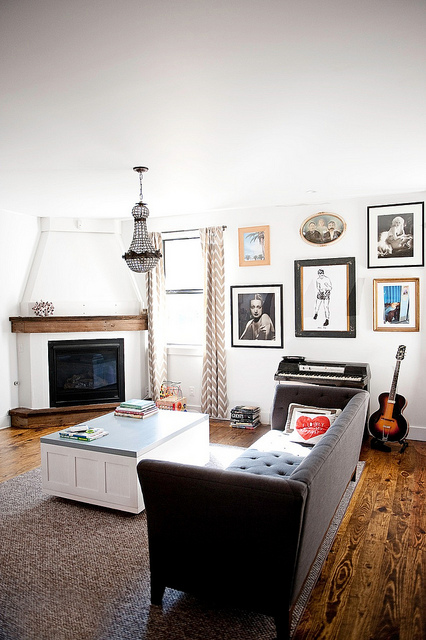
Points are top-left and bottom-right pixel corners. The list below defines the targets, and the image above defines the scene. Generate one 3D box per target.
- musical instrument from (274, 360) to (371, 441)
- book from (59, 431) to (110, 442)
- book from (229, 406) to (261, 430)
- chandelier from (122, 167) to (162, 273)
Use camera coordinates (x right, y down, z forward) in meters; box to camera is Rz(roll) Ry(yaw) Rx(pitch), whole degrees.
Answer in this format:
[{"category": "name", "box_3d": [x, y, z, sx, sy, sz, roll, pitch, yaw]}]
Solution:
[{"category": "musical instrument", "box_3d": [1.166, 0.851, 4.687, 0.889, 0.887, 0.476, 0, 7, 26]}, {"category": "book", "box_3d": [-0.927, 0.825, 3.124, 0.349, 0.031, 0.186, 0, 0, -5]}, {"category": "book", "box_3d": [0.402, 1.119, 5.180, 0.268, 0.180, 0.242, 0, -1, 20]}, {"category": "chandelier", "box_3d": [-0.580, -0.688, 3.611, 0.281, 0.571, 0.324, 0, -1, -12]}]
